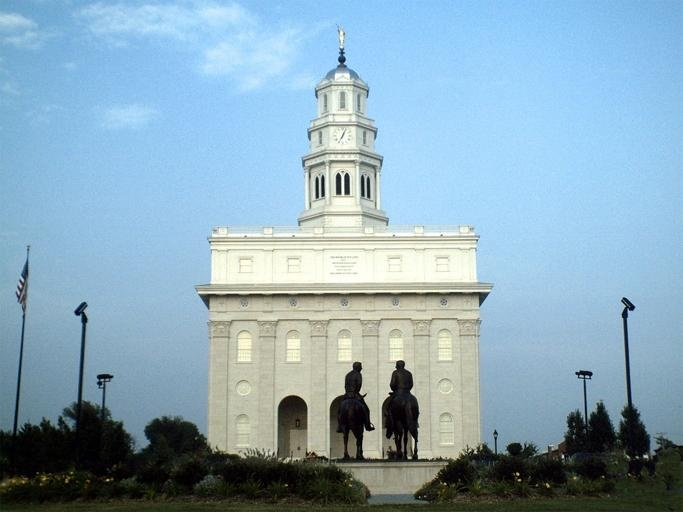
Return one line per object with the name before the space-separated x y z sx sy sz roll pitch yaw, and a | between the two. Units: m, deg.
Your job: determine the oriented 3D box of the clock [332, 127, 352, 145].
clock | 0.052 -10.524 111.600 1.386 1.617 0.201 -1 1 3
